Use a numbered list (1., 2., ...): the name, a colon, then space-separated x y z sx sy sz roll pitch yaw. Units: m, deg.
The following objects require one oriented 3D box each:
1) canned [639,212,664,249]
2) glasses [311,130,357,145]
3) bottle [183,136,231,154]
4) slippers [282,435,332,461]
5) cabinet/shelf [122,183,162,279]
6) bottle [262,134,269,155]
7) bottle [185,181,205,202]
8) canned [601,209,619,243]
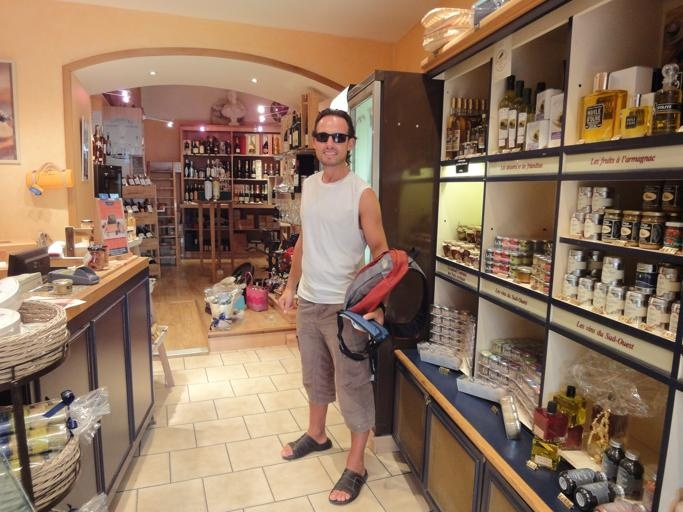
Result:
1. canned: 1.230 -0.103 1.940 0.081 0.140 0.076 9 14 33
2. glasses: -0.061 -0.677 2.815 0.188 0.063 0.070 0 12 -3
3. bottle: -2.866 -2.378 10.501 0.981 0.376 0.304 -2 13 -16
4. slippers: -0.235 1.271 3.308 0.321 0.127 0.119 1 1 -23
5. cabinet/shelf: -3.449 -0.464 8.509 0.518 1.542 0.982 -4 13 -22
6. bottle: -1.633 -2.407 10.615 0.187 0.369 0.145 4 12 13
7. bottle: -3.169 -1.401 10.480 0.383 0.429 0.361 2 12 2
8. canned: 1.142 -0.129 2.075 0.069 0.130 0.075 7 14 27
